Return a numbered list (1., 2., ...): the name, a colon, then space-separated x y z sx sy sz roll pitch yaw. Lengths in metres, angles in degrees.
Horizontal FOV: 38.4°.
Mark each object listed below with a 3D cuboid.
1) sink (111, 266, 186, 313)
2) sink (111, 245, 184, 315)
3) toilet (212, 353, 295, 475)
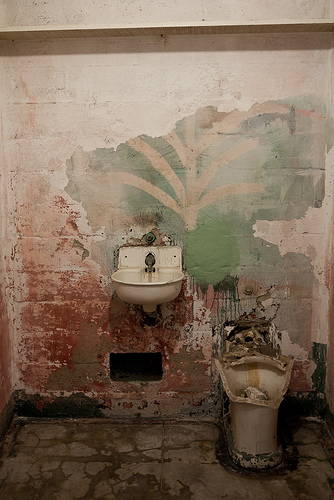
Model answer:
1. sink: -0.096 0.254 2.596 0.389 0.279 0.313 -1 13 1
2. sink: -0.077 0.146 2.631 0.381 0.337 0.419 0 8 3
3. toilet: 0.467 0.838 2.429 0.423 0.470 0.383 -6 21 -10
